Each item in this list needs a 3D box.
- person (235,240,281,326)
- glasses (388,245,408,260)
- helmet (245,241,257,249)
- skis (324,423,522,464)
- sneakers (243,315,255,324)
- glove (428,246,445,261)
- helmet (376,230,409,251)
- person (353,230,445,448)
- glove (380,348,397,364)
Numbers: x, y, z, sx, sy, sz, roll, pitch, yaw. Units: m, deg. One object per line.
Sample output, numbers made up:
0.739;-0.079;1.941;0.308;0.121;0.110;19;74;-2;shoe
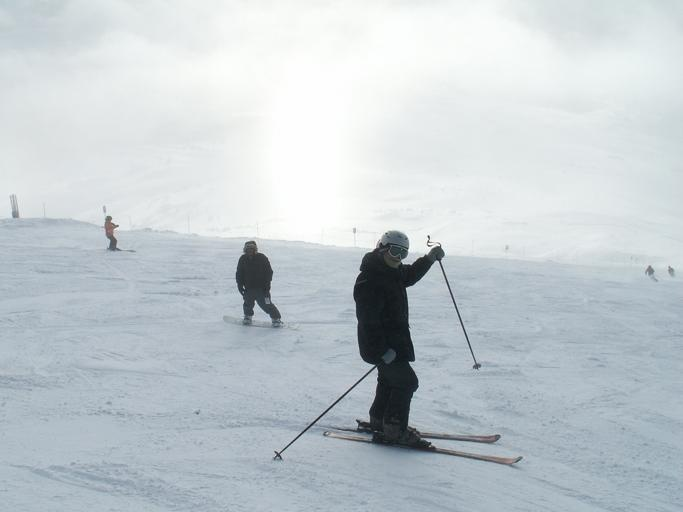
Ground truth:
-1.828;0.559;15.836;0.958;1.895;1.037;2;11;-5;person
0.732;-0.048;9.246;0.163;0.081;0.210;14;2;-15;glasses
-1.935;-0.230;15.385;0.246;0.198;0.370;1;10;-8;helmet
0.989;2.462;9.410;2.504;0.126;0.255;6;4;6;skis
-2.061;1.409;15.946;0.184;0.166;0.179;-1;2;-39;sneakers
1.162;-0.024;8.874;0.159;0.208;0.225;1;-3;41;glove
0.634;-0.170;8.565;0.212;0.272;0.243;12;43;5;helmet
0.603;1.050;9.369;0.923;2.733;0.593;5;11;11;person
0.607;1.273;9.150;0.046;0.172;0.190;13;43;38;glove
